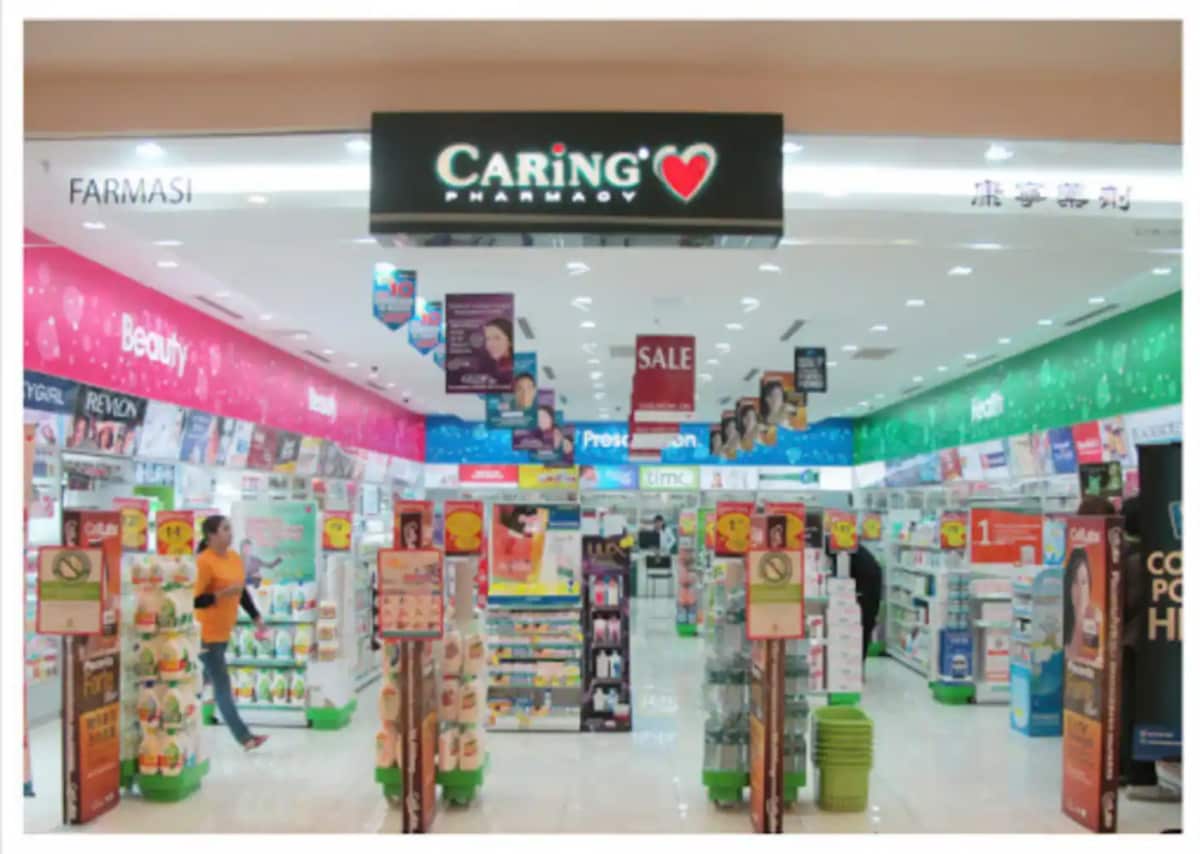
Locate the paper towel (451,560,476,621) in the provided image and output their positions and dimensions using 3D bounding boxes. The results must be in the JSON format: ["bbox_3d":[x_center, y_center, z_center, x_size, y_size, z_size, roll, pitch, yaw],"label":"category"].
[{"bbox_3d":[-1.164,1.371,7.752,0.200,0.508,0.327,1,2,-10],"label":"paper towel"}]

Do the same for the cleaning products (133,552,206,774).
[{"bbox_3d":[-3.538,1.936,7.467,0.506,1.671,0.434,0,2,-28],"label":"cleaning products"}]

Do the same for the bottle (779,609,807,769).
[{"bbox_3d":[1.617,2.318,7.589,0.195,1.065,0.414,1,2,12],"label":"bottle"}]

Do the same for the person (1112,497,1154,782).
[{"bbox_3d":[4.346,1.779,7.412,0.311,2.475,1.031,2,2,31],"label":"person"}]

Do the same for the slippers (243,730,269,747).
[{"bbox_3d":[-3.228,2.929,8.537,0.139,0.074,0.205,40,14,6],"label":"slippers"}]

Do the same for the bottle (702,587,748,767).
[{"bbox_3d":[1.036,2.073,7.491,0.345,1.392,0.410,1,2,9],"label":"bottle"}]
